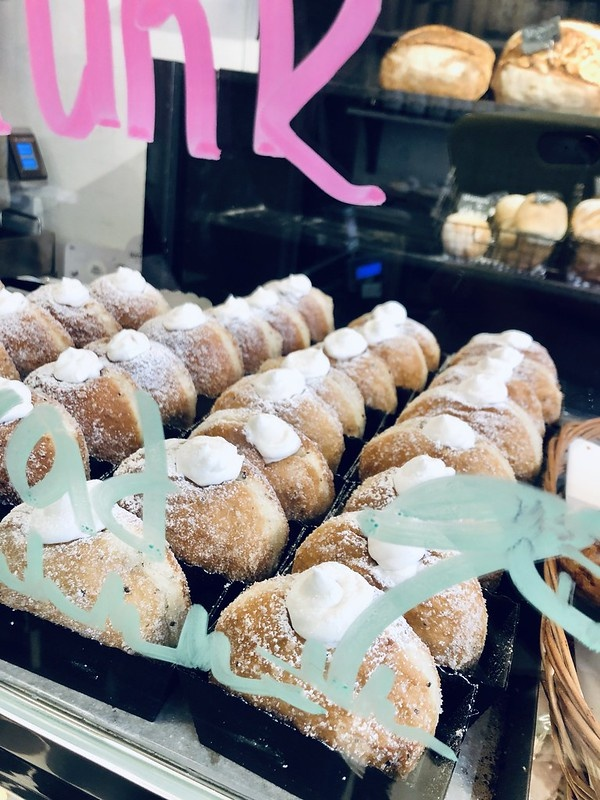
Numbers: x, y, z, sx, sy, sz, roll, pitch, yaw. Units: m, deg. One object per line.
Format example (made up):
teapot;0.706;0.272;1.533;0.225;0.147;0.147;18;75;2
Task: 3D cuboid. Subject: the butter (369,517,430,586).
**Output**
butter;0.119;0.181;0.922;0.054;0.059;0.037;-8;21;31

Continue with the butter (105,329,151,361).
butter;-0.296;-0.094;1.360;0.062;0.023;0.061;22;44;32

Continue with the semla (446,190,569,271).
semla;0.255;-0.205;0.966;0.121;0.079;0.045;7;25;24

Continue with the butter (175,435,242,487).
butter;-0.122;0.083;1.072;0.091;0.067;0.049;0;27;-9

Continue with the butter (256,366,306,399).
butter;-0.025;-0.028;1.354;0.062;0.021;0.060;30;48;28

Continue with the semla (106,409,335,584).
semla;-0.089;0.138;1.100;0.212;0.108;0.292;36;19;14

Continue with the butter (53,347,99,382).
butter;-0.368;-0.049;1.296;0.061;0.023;0.060;-32;52;-31

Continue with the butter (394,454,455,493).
butter;0.154;0.097;1.014;0.061;0.034;0.060;-28;5;-33

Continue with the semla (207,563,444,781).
semla;0.027;0.286;0.892;0.276;0.207;0.137;14;28;19

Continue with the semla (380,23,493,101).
semla;0.153;-0.392;0.920;0.124;0.083;0.038;17;9;3

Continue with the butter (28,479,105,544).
butter;-0.292;0.135;0.956;0.083;0.080;0.023;-14;-10;-1

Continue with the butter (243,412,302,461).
butter;-0.046;0.066;1.221;0.083;0.034;0.066;41;59;1

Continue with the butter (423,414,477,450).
butter;0.228;0.050;1.205;0.063;0.036;0.063;-6;24;-32
